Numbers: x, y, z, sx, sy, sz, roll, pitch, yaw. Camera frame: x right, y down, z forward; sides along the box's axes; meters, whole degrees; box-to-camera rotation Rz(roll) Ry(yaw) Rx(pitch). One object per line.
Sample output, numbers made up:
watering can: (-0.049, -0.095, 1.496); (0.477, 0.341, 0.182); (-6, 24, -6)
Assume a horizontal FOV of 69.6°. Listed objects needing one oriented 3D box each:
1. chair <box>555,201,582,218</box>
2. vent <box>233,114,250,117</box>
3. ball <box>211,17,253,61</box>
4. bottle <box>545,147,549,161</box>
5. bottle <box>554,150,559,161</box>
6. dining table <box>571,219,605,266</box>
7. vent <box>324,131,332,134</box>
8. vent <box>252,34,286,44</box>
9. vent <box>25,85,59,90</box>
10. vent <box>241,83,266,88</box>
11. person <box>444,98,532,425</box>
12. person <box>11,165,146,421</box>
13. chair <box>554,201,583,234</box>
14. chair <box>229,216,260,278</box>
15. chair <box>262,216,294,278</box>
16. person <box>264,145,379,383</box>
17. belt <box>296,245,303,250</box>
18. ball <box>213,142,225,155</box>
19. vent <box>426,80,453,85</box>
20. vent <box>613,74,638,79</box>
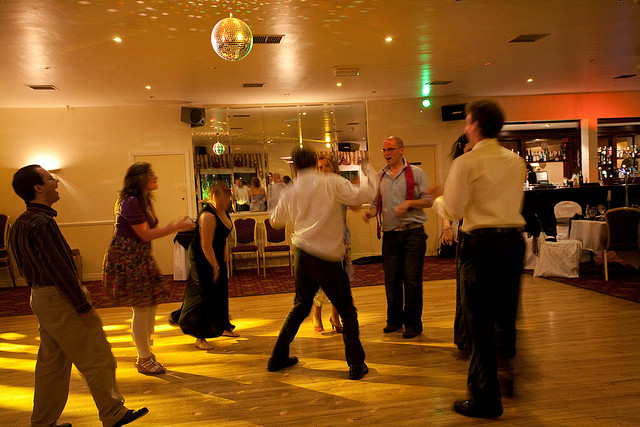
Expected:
chair: (5.304, -0.100, 9.923); (0.403, 0.476, 0.424); (-2, -4, 19)
vent: (-1.807, -2.293, 10.720); (0.412, 0.083, 0.053); (-3, 3, -8)
ball: (-1.098, -2.183, 5.780); (0.650, 0.543, 0.615); (-1, 23, 0)
bottle: (6.012, -1.586, 12.203); (0.090, 0.340, 0.354); (1, 9, 23)
bottle: (6.216, -1.492, 12.075); (0.087, 0.194, 0.140); (5, 11, 42)
dining table: (4.809, 0.493, 8.221); (0.742, 0.688, 0.710); (-4, 5, -5)
vent: (0.225, -1.924, 10.887); (0.147, 0.064, 0.018); (-2, 9, 1)
vent: (-0.763, -2.633, 6.912); (0.363, 0.076, 0.343); (-1, 1, -2)
vent: (-5.176, -2.364, 8.599); (0.466, 0.051, 0.280); (-3, 8, -8)
vent: (-1.314, -2.575, 9.219); (0.432, 0.049, 0.328); (-4, 8, -9)
person: (1.449, 0.383, 4.037); (0.553, 2.751, 0.673); (4, 11, 39)
person: (-2.093, 0.741, 3.923); (0.846, 2.274, 0.551); (-4, 9, -7)
chair: (4.995, 0.090, 9.286); (0.626, 0.863, 0.676); (-1, -7, 24)
chair: (-1.644, 0.707, 10.084); (0.641, 1.161, 1.167); (-4, 9, -8)
chair: (-0.921, 0.695, 10.040); (0.624, 1.080, 1.352); (-4, 8, -7)
person: (0.007, 0.455, 4.880); (1.297, 2.269, 0.843); (-2, 5, 19)
belt: (-0.197, 0.337, 4.597); (0.039, 0.010, 0.041); (36, -6, -29)
ball: (-2.311, -1.488, 10.593); (0.285, 0.350, 0.270); (1, 1, 0)
vent: (2.521, -2.759, 9.647); (0.465, 0.051, 0.315); (-4, 8, -11)
vent: (6.500, -2.940, 9.849); (0.464, 0.050, 0.337); (-3, 8, -4)
